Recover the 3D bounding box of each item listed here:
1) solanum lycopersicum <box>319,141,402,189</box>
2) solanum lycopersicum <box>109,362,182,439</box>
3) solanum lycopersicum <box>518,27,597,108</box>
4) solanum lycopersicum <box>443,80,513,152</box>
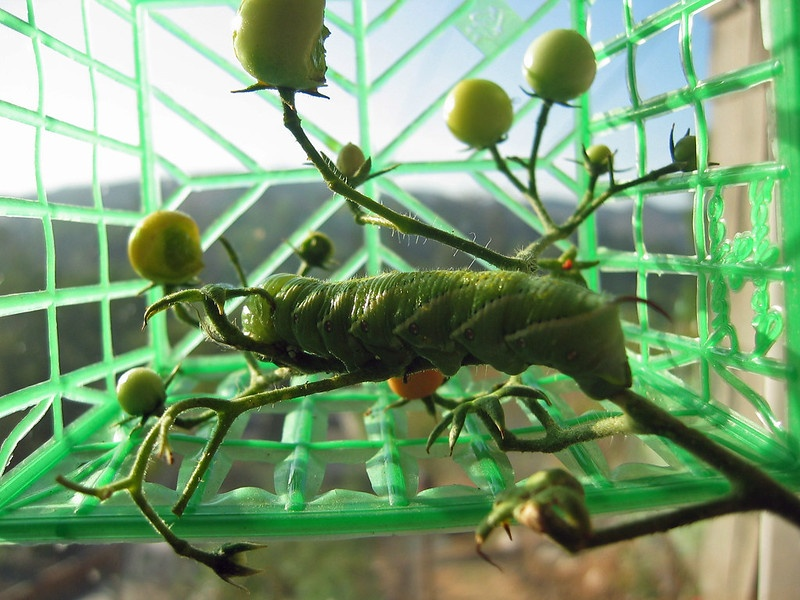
[{"bbox_3d":[-0.046,-0.134,0.865,0.054,0.033,0.061,2,-3,14],"label":"solanum lycopersicum"},{"bbox_3d":[-0.280,0.109,0.922,0.071,0.068,0.064,-3,-3,-30],"label":"solanum lycopersicum"},{"bbox_3d":[0.176,-0.261,0.939,0.066,0.087,0.076,12,40,23],"label":"solanum lycopersicum"},{"bbox_3d":[0.086,-0.209,0.912,0.080,0.075,0.069,0,1,23],"label":"solanum lycopersicum"}]
